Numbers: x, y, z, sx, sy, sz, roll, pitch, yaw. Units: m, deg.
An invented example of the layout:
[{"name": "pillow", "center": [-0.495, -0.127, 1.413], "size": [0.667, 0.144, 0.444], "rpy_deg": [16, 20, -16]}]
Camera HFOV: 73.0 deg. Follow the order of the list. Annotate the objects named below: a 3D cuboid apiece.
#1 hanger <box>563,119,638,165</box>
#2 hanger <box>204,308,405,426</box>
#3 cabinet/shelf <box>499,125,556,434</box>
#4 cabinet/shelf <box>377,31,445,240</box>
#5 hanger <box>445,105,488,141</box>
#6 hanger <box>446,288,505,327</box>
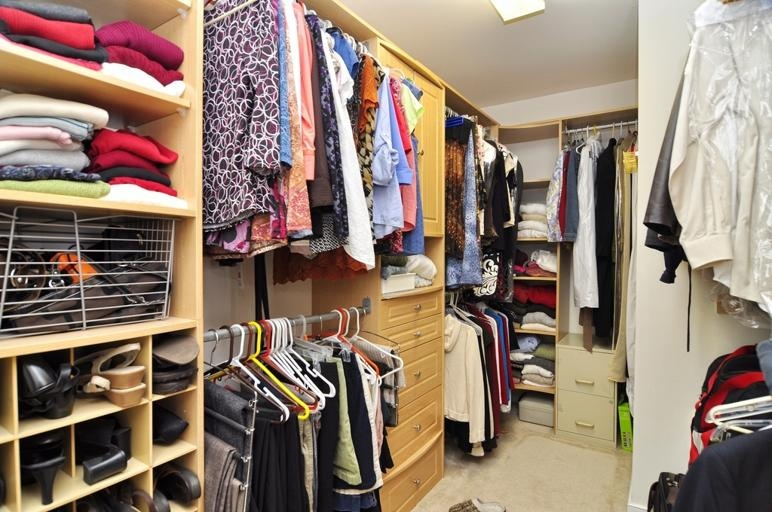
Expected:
[{"name": "hanger", "center": [1.615, -0.870, 3.976], "size": [0.520, 0.342, 0.604], "rpy_deg": [3, 7, 21]}, {"name": "hanger", "center": [-0.410, 0.415, 2.478], "size": [0.530, 0.365, 0.869], "rpy_deg": [1, -2, -9]}, {"name": "cabinet/shelf", "center": [1.132, 0.107, 4.193], "size": [0.520, 2.306, 0.928], "rpy_deg": [2, 7, 12]}, {"name": "cabinet/shelf", "center": [0.176, -0.623, 2.954], "size": [0.157, 1.046, 0.605], "rpy_deg": [5, 8, 32]}, {"name": "hanger", "center": [0.525, -0.890, 3.506], "size": [0.290, 0.121, 0.379], "rpy_deg": [5, 6, 41]}, {"name": "hanger", "center": [0.649, 0.367, 3.785], "size": [0.358, 0.113, 0.274], "rpy_deg": [17, 14, 40]}]
